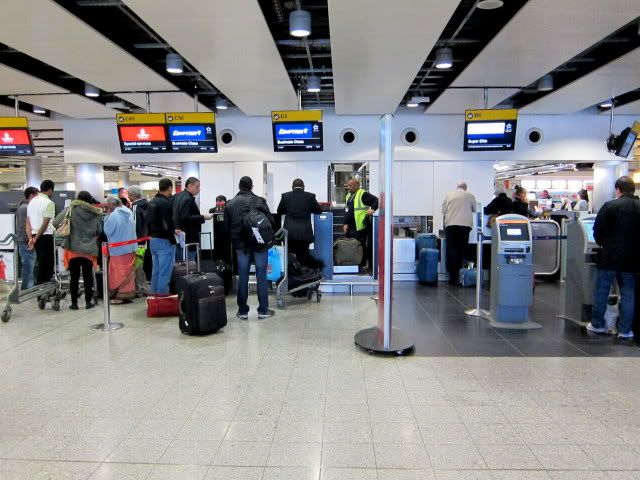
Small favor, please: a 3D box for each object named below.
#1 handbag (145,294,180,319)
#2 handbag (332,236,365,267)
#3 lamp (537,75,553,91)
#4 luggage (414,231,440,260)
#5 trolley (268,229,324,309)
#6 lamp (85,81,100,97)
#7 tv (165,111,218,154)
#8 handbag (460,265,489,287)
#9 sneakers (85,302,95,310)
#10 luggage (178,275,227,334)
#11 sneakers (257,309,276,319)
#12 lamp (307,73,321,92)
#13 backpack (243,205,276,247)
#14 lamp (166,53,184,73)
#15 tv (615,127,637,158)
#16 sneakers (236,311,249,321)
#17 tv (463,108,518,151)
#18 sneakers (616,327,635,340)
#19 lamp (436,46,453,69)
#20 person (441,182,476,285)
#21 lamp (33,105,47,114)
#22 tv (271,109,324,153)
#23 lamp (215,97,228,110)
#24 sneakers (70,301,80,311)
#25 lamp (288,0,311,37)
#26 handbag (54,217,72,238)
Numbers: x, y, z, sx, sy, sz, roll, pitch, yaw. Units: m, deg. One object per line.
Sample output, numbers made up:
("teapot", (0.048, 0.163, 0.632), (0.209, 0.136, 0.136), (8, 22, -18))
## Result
("handbag", (-2.233, 0.956, 7.396), (0.493, 0.312, 0.354), (0, 5, -12))
("handbag", (0.507, 0.200, 9.355), (0.619, 0.558, 0.428), (1, 6, 2))
("lamp", (4.013, -2.738, 9.305), (0.287, 0.296, 0.281), (4, 7, 6))
("luggage", (2.114, 0.089, 10.622), (0.494, 0.600, 0.507), (0, -5, 2))
("trolley", (-0.416, 0.401, 8.405), (0.992, 1.071, 0.978), (1, 0, 25))
("lamp", (-4.353, -2.824, 9.899), (0.228, 0.206, 0.227), (-2, -3, 24))
("tv", (-2.441, -1.999, 9.807), (0.889, 0.626, 0.092), (-1, 7, 2))
("handbag", (2.728, 0.648, 9.286), (0.269, 0.454, 0.505), (-2, 3, -36))
("sneakers", (-3.483, 0.978, 7.888), (0.051, 0.083, 0.120), (5, 9, 16))
("luggage", (-1.515, 0.805, 6.645), (0.501, 0.745, 0.601), (1, 6, 30))
("sneakers", (-0.742, 1.048, 7.360), (0.296, 0.121, 0.097), (-3, 3, -41))
("lamp", (-0.143, -2.794, 9.357), (0.285, 0.258, 0.282), (2, 6, 29))
("backpack", (-0.825, -0.080, 7.191), (0.457, 0.605, 0.339), (-13, 12, -26))
("lamp", (-2.233, -2.711, 8.068), (0.301, 0.290, 0.289), (0, 17, -7))
("tv", (6.112, -1.923, 10.366), (0.288, 0.566, 0.974), (8, 14, 35))
("sneakers", (-1.068, 1.043, 7.252), (0.157, 0.094, 0.154), (-2, 12, -9))
("tv", (3.164, -2.029, 9.668), (0.995, 0.704, 0.132), (0, 8, 1))
("sneakers", (3.732, 1.146, 6.342), (0.185, 0.114, 0.142), (3, 12, 17))
("lamp", (1.902, -2.748, 7.987), (0.299, 0.263, 0.293), (3, 4, 13))
("person", (2.663, -0.057, 10.018), (0.623, 1.751, 0.489), (2, 12, 13))
("lamp", (-6.125, -2.811, 11.424), (0.214, 0.162, 0.456), (-3, 12, -12))
("tv", (-0.415, -2.024, 9.757), (1.004, 0.729, 0.326), (-1, 7, 4))
("lamp", (-2.039, -2.798, 10.840), (0.221, 0.157, 0.222), (-2, -4, 30))
("sneakers", (-3.669, 0.993, 7.851), (0.079, 0.156, 0.210), (-1, 8, -37))
("lamp", (-0.252, -2.777, 6.697), (0.264, 0.321, 0.265), (-1, 12, -3))
("handbag", (-3.742, -0.184, 7.603), (0.255, 0.258, 0.127), (-10, -20, 39))
